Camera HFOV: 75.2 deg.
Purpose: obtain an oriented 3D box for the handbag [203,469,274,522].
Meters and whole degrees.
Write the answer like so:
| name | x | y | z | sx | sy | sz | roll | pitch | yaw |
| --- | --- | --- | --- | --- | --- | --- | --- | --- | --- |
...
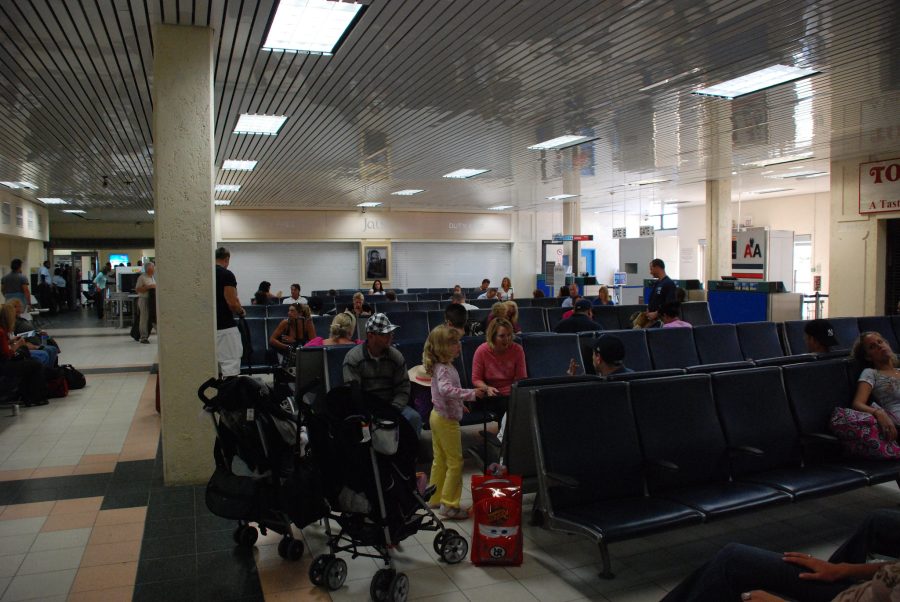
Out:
| name | x | y | z | sx | sy | sz | roll | pitch | yaw |
| --- | --- | --- | --- | --- | --- | --- | --- | --- | --- |
| handbag | -1.668 | 1.407 | 4.319 | 0.454 | 0.298 | 0.231 | 5 | 5 | 20 |

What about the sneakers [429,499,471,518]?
| name | x | y | z | sx | sy | sz | roll | pitch | yaw |
| --- | --- | --- | --- | --- | --- | --- | --- | --- | --- |
| sneakers | -0.014 | 1.777 | 4.992 | 0.393 | 0.152 | 0.131 | -2 | 3 | -21 |

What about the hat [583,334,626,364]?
| name | x | y | z | sx | sy | sz | roll | pitch | yaw |
| --- | --- | --- | --- | --- | --- | --- | --- | --- | --- |
| hat | 1.492 | 0.466 | 5.661 | 0.347 | 0.249 | 0.446 | 0 | 16 | -20 |

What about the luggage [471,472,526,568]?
| name | x | y | z | sx | sy | sz | roll | pitch | yaw |
| --- | --- | --- | --- | --- | --- | --- | --- | --- | --- |
| luggage | 0.358 | 1.621 | 4.446 | 0.464 | 0.631 | 0.395 | -2 | -4 | 7 |

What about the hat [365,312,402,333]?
| name | x | y | z | sx | sy | sz | roll | pitch | yaw |
| --- | --- | --- | --- | --- | --- | --- | --- | --- | --- |
| hat | -0.575 | 0.183 | 4.586 | 0.266 | 0.139 | 0.167 | -7 | 5 | -14 |
